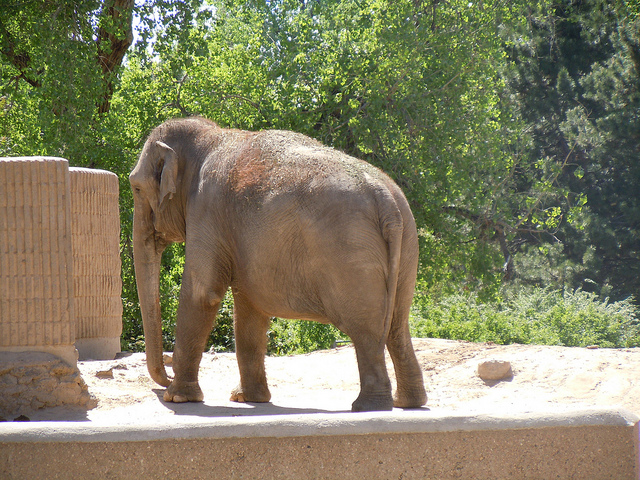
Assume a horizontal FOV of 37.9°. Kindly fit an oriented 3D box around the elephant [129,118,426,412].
[{"bbox_3d":[-0.723,0.293,11.375,3.920,3.479,2.046,3,5,26],"label":"elephant"}]
